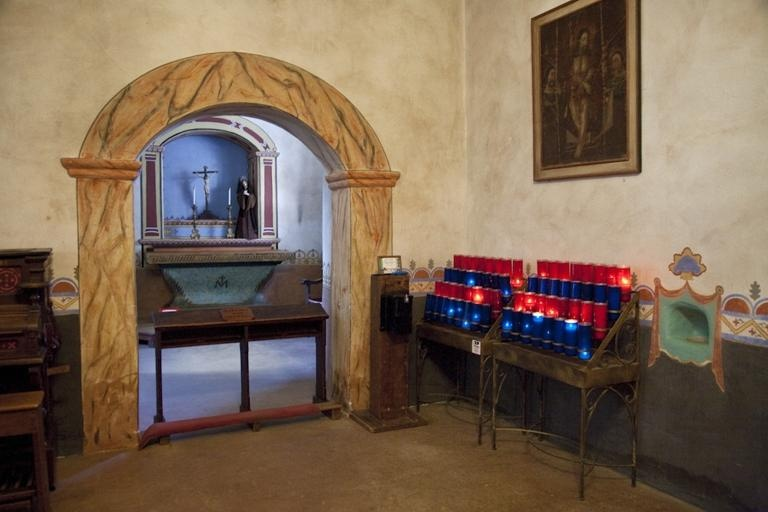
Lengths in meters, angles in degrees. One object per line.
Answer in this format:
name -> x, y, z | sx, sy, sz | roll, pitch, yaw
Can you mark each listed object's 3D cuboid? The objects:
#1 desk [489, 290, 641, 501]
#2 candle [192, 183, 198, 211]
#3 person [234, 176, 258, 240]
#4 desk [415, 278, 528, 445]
desk -> 1.718, 1.218, 6.164 | 0.875, 1.803, 1.457 | -9, 12, -43
candle -> -4.068, -1.310, 13.560 | 0.110, 0.419, 0.247 | -3, 9, -13
person -> -2.803, -0.977, 12.849 | 0.456, 1.231, 0.810 | -4, 10, -20
desk -> 0.974, 1.168, 6.992 | 0.832, 2.280, 1.727 | 2, -1, -24
